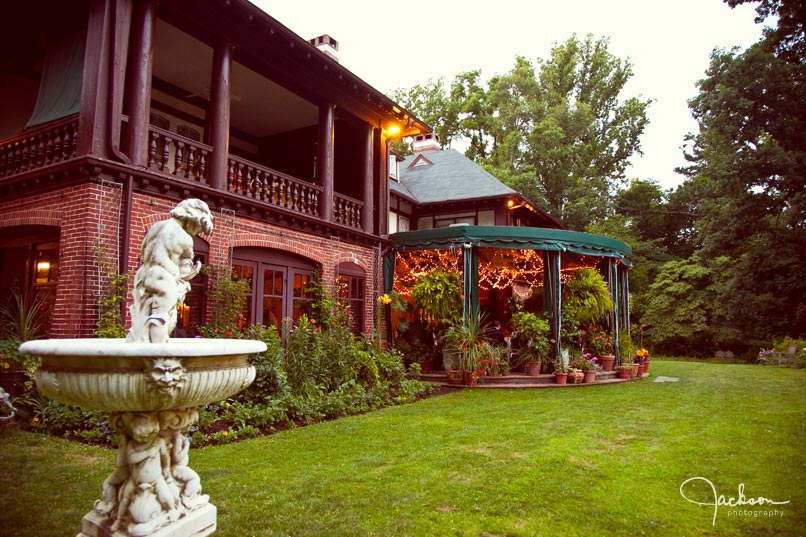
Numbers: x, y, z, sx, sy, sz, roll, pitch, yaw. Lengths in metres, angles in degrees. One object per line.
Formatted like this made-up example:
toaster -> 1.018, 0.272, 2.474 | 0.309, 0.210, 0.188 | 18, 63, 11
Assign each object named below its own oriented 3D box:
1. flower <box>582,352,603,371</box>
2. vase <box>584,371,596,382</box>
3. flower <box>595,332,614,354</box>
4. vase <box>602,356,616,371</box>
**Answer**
flower -> 5.761, 2.854, 17.708 | 0.672, 0.486, 0.603 | 3, -1, -35
vase -> 5.450, 3.170, 17.040 | 0.318, 0.241, 0.323 | 1, -11, -4
flower -> 6.349, 2.349, 18.438 | 0.731, 0.778, 0.606 | 1, -4, -28
vase -> 6.381, 2.956, 18.079 | 0.413, 0.338, 0.421 | 1, -11, -2
